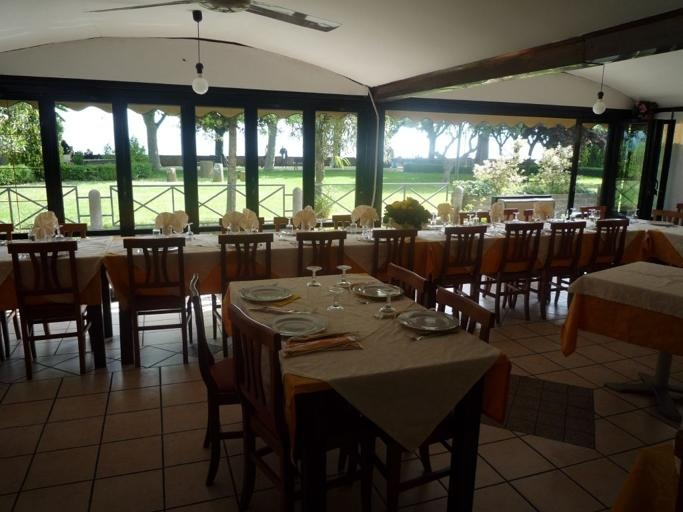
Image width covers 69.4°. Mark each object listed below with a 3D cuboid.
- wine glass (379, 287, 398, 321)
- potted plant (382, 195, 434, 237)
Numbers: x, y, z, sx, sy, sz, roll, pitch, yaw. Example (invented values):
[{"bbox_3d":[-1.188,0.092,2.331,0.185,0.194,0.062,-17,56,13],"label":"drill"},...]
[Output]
[{"bbox_3d":[0.280,0.329,3.195,0.149,0.167,0.148,0,3,-8],"label":"wine glass"},{"bbox_3d":[0.706,-0.455,5.367,0.415,0.293,0.417,1,15,-5],"label":"potted plant"}]
